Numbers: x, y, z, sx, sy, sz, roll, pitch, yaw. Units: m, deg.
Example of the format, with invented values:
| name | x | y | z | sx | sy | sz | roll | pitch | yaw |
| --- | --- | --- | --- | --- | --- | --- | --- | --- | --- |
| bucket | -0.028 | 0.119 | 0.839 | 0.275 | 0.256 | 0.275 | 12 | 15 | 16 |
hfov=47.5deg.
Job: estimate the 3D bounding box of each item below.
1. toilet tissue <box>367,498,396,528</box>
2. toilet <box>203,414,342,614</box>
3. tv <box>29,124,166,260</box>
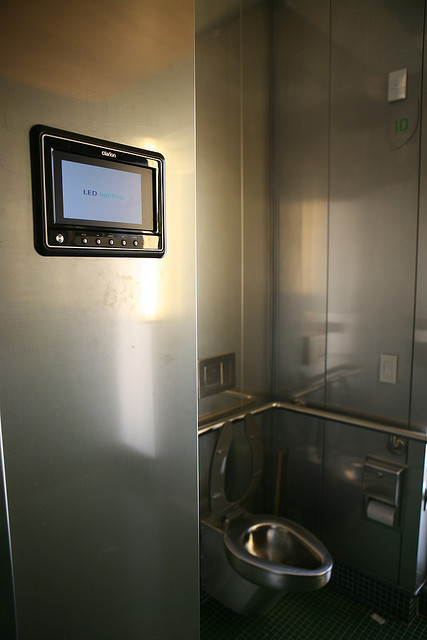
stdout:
| name | x | y | z | sx | sy | sz | roll | pitch | yaw |
| --- | --- | --- | --- | --- | --- | --- | --- | --- | --- |
| toilet tissue | 0.625 | 0.714 | 1.806 | 0.080 | 0.055 | 0.090 | 15 | 57 | 32 |
| toilet | 0.177 | 0.730 | 1.758 | 0.335 | 0.669 | 0.520 | -3 | 9 | -39 |
| tv | -0.174 | -0.187 | 0.705 | 0.021 | 0.170 | 0.210 | 4 | 6 | 39 |
